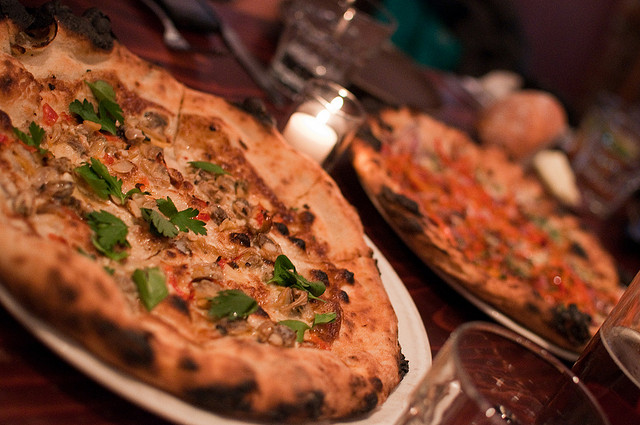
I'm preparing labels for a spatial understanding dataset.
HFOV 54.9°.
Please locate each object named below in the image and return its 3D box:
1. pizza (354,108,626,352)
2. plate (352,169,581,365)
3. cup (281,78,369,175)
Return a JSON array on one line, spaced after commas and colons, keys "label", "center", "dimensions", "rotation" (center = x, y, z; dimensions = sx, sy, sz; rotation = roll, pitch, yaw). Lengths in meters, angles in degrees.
[{"label": "pizza", "center": [0.864, 0.054, 3.183], "dimensions": [1.295, 0.146, 1.242], "rotation": [42, 23, 4]}, {"label": "plate", "center": [0.627, 0.250, 2.750], "dimensions": [1.259, 0.147, 0.137], "rotation": [44, 9, 24]}, {"label": "cup", "center": [0.016, -0.408, 3.035], "dimensions": [0.359, 0.413, 0.362], "rotation": [26, 23, -12]}]
